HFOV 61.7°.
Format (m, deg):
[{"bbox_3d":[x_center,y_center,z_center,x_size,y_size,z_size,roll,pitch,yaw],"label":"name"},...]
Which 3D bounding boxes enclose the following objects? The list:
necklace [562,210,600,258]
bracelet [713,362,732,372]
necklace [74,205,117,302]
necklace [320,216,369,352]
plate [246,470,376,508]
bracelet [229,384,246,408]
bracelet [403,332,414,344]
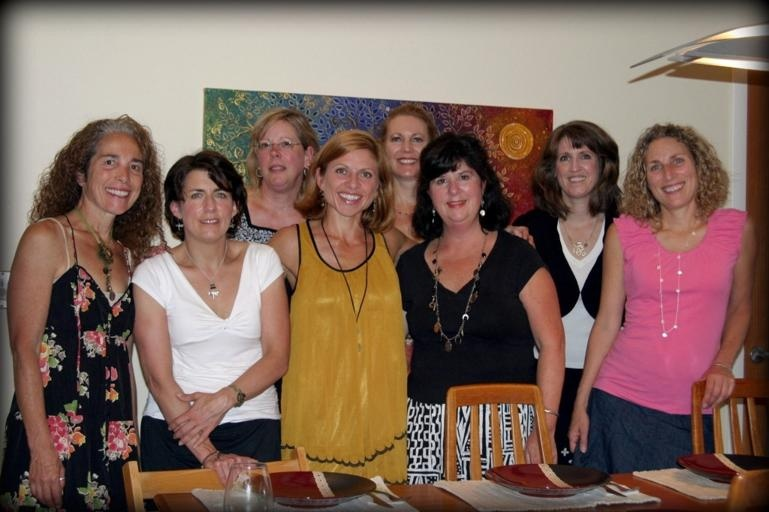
[{"bbox_3d":[1.195,-0.107,3.839,0.243,0.315,0.091,-30,16,-27],"label":"necklace"},{"bbox_3d":[1.675,0.548,3.193,0.075,0.033,0.087,-2,1,28],"label":"bracelet"},{"bbox_3d":[-1.440,-0.073,3.151,0.058,0.651,0.122,-25,-27,0],"label":"necklace"},{"bbox_3d":[-0.149,0.140,3.422,0.218,0.687,0.016,3,-29,-13],"label":"necklace"},{"bbox_3d":[-0.249,0.858,2.387,0.227,0.039,0.220,-4,3,-33],"label":"plate"},{"bbox_3d":[-0.674,0.647,2.983,0.050,0.092,0.080,-10,-1,-15],"label":"bracelet"},{"bbox_3d":[0.140,0.474,3.712,0.054,0.023,0.073,0,-32,6],"label":"bracelet"}]
